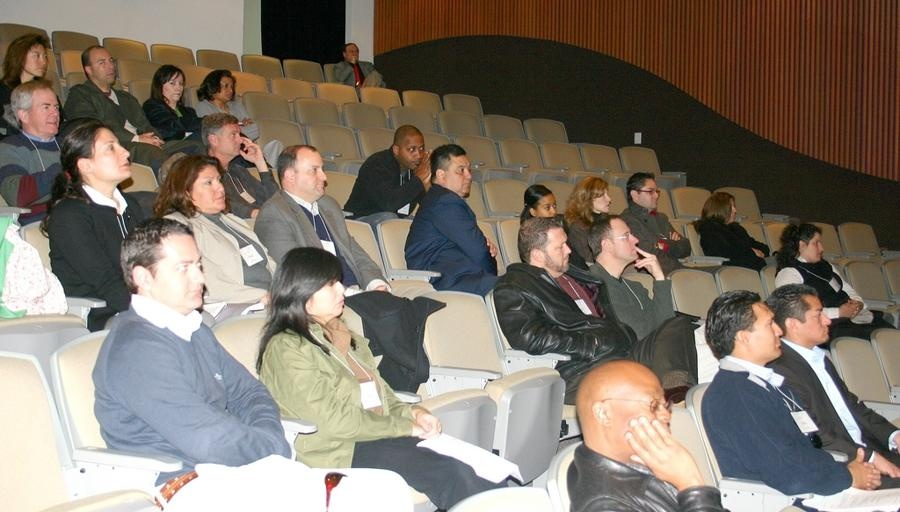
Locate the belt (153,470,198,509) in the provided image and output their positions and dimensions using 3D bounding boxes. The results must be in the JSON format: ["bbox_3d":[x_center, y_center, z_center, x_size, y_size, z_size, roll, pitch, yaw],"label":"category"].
[{"bbox_3d":[-1.208,1.021,2.709,0.162,0.151,0.114,4,3,-26],"label":"belt"}]

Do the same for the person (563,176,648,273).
[{"bbox_3d":[1.487,-0.347,6.219,0.762,1.312,0.875,-1,7,8],"label":"person"}]

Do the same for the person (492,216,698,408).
[{"bbox_3d":[1.061,0.416,5.025,1.536,1.654,1.120,-9,-5,18],"label":"person"}]

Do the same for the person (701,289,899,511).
[{"bbox_3d":[1.837,0.809,3.885,1.208,1.333,1.032,-8,-5,22],"label":"person"}]
